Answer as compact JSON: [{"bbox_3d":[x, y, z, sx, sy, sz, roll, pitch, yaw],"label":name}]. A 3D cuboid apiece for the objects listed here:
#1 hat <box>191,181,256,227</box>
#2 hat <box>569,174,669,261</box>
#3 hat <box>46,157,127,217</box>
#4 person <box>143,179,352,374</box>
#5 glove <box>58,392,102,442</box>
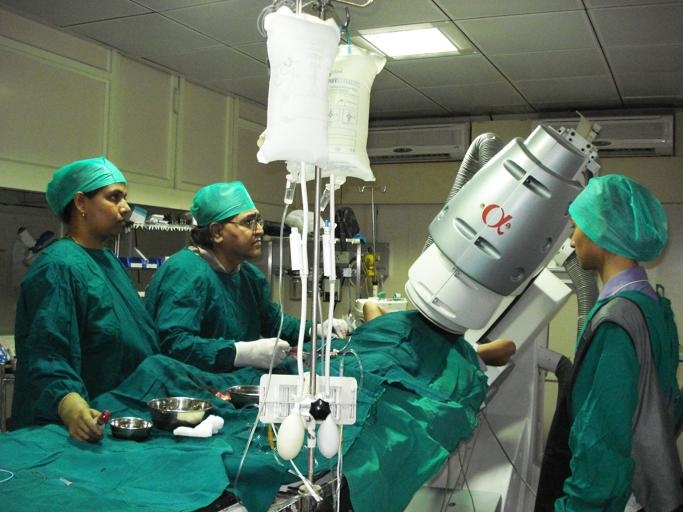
[{"bbox_3d":[-0.544,-0.212,2.672,0.240,0.152,0.189,-12,3,17],"label":"hat"},{"bbox_3d":[0.836,-0.113,1.847,0.213,0.296,0.158,-14,-19,-44],"label":"hat"},{"bbox_3d":[-0.953,-0.240,2.203,0.254,0.207,0.201,-26,10,4],"label":"hat"},{"bbox_3d":[-0.395,0.146,2.468,0.653,0.877,0.980,-1,-2,10],"label":"person"},{"bbox_3d":[-0.710,0.441,1.622,0.146,0.090,0.066,27,-12,43],"label":"glove"}]
